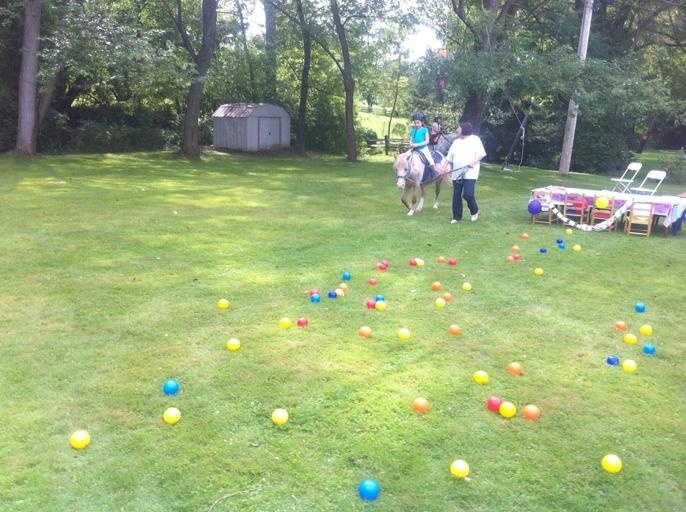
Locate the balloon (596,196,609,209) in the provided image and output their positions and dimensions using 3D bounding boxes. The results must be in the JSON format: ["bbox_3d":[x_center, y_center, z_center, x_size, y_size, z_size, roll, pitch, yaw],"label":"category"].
[{"bbox_3d":[6.236,-1.263,13.838,0.292,0.269,0.262,13,-18,38],"label":"balloon"}]

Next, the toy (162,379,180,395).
[{"bbox_3d":[-1.878,1.435,6.305,0.144,0.157,0.173,0,-9,7],"label":"toy"}]

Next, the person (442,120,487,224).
[{"bbox_3d":[3.111,-2.127,14.618,0.902,2.454,1.542,5,14,12],"label":"person"}]

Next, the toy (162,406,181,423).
[{"bbox_3d":[-1.764,1.638,5.976,0.188,0.134,0.193,-6,16,-30],"label":"toy"}]

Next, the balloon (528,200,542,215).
[{"bbox_3d":[4.797,-1.240,14.349,0.332,0.405,0.356,4,51,17],"label":"balloon"}]

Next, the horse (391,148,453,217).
[{"bbox_3d":[2.143,-2.032,16.032,0.652,1.757,2.962,7,17,28],"label":"horse"}]

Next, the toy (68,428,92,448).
[{"bbox_3d":[-2.589,1.783,5.665,0.215,0.131,0.200,-1,14,-13],"label":"toy"}]

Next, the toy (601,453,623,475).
[{"bbox_3d":[2.612,1.983,5.542,0.234,0.135,0.154,-5,15,-25],"label":"toy"}]

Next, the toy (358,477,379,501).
[{"bbox_3d":[0.239,2.114,5.226,0.209,0.147,0.123,3,14,2],"label":"toy"}]

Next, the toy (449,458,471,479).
[{"bbox_3d":[1.119,2.003,5.461,0.197,0.127,0.157,3,14,5],"label":"toy"}]

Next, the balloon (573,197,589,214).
[{"bbox_3d":[5.954,-1.264,14.342,0.331,0.262,0.333,0,7,44],"label":"balloon"}]
